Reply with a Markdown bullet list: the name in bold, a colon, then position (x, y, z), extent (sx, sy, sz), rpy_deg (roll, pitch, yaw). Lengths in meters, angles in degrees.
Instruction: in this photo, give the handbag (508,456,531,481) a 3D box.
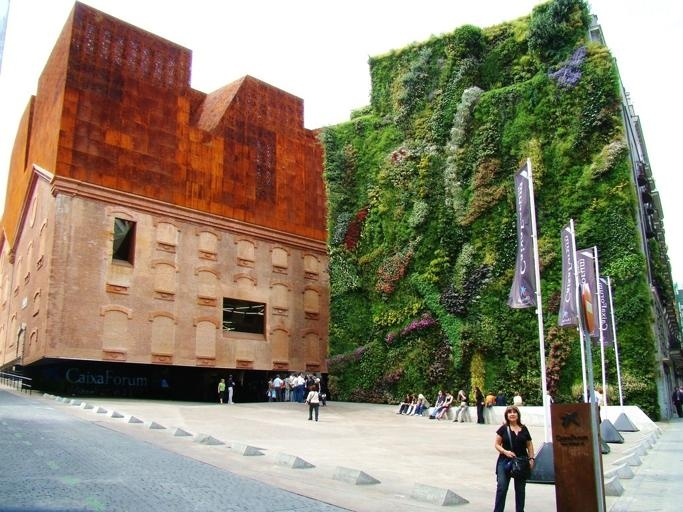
- **handbag**: position (2.869, 3.398, 8.559), extent (0.403, 0.374, 0.208), rpy_deg (2, -4, 30)
